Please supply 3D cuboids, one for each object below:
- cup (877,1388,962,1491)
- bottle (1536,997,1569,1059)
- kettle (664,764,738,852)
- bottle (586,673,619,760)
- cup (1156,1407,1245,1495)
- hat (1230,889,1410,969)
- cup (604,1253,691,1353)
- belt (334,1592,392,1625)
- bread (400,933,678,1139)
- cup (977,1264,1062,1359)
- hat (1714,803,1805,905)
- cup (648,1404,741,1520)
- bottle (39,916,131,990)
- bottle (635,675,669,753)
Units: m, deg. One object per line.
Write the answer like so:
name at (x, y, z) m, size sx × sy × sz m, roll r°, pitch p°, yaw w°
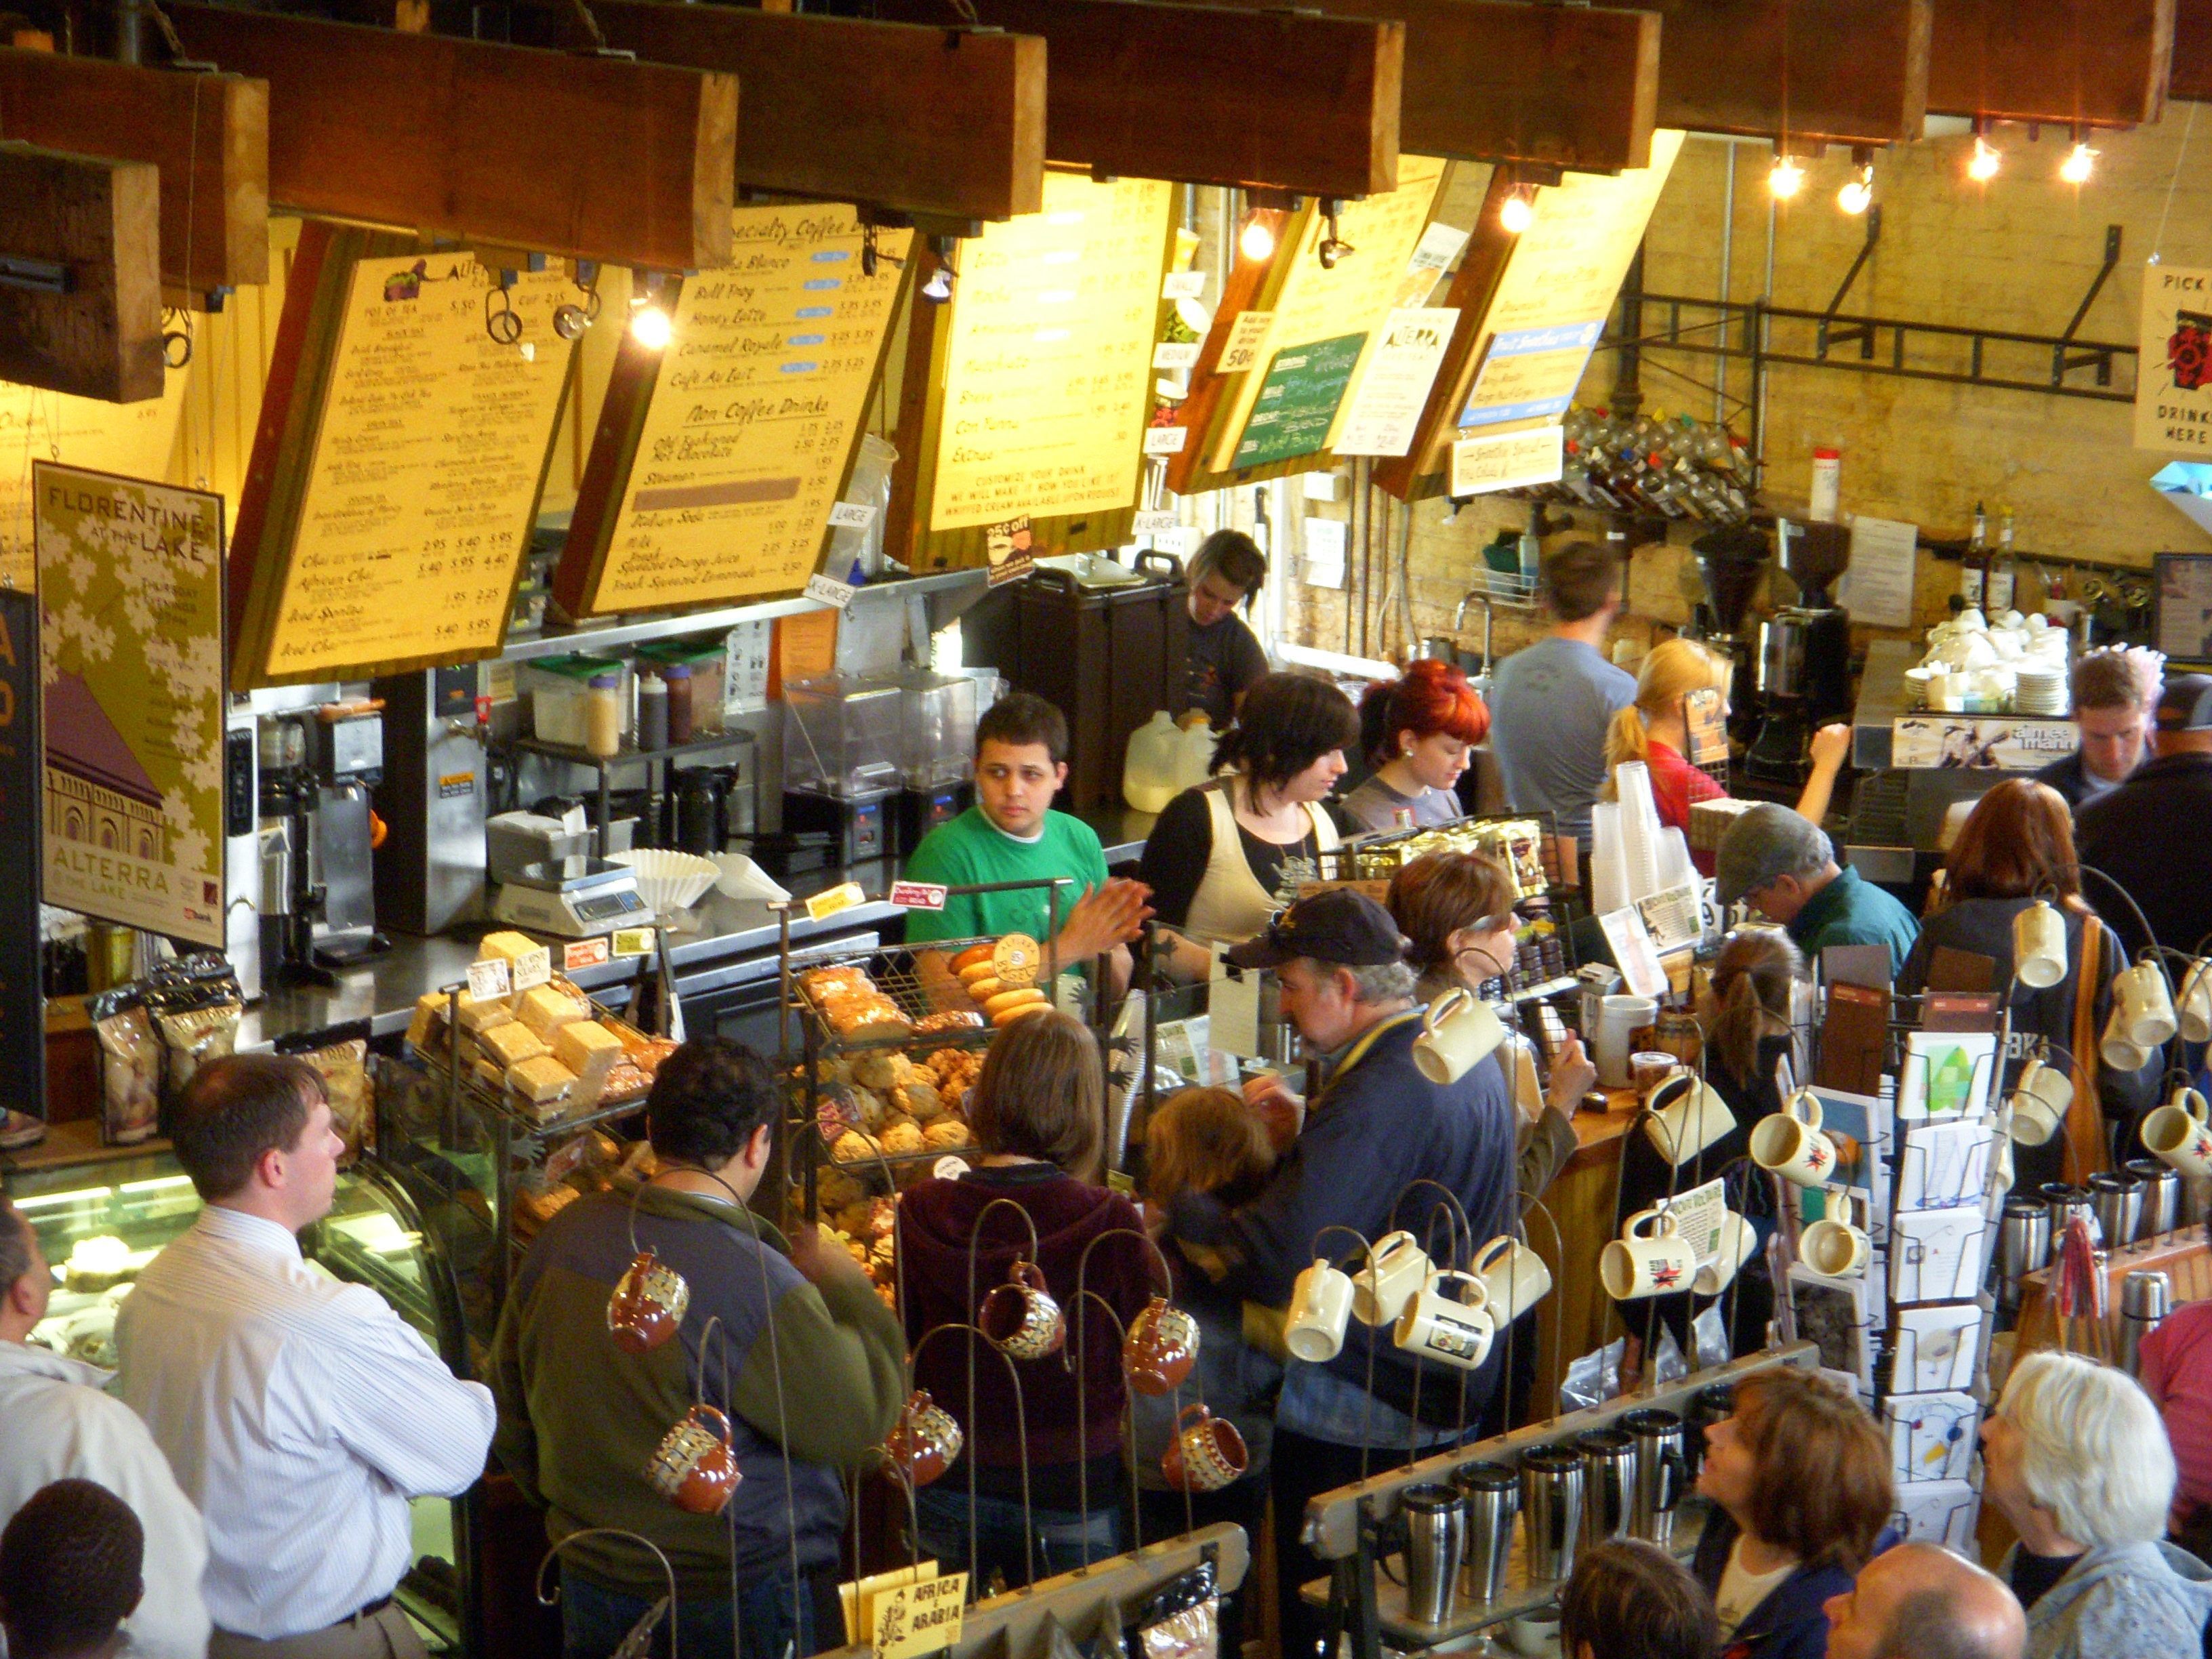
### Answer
cup at (-0.292, 0.980, 3.670) m, size 0.150 × 0.167 × 0.128 m, roll -12°, pitch 9°, yaw -9°
bottle at (1.126, 0.493, 5.624) m, size 0.079 × 0.131 × 0.267 m, roll 5°, pitch 0°, yaw 12°
kettle at (-1.389, -0.082, 7.785) m, size 0.159 × 0.307 × 0.339 m, roll 5°, pitch 0°, yaw 18°
bottle at (-1.631, -0.373, 7.334) m, size 0.130 × 0.272 × 0.081 m, roll 5°, pitch 0°, yaw -28°
cup at (0.161, 1.053, 3.799) m, size 0.119 × 0.153 × 0.293 m, roll 5°, pitch 0°, yaw 0°
hat at (0.444, 0.210, 4.642) m, size 0.259 × 0.175 × 0.354 m, roll 5°, pitch 0°, yaw -11°
cup at (-0.743, 0.760, 3.626) m, size 0.114 × 0.151 × 0.057 m, roll 6°, pitch -5°, yaw 1°
belt at (-1.321, 1.377, 3.985) m, size 0.080 × 0.020 × 0.081 m, roll -23°, pitch -7°, yaw -14°
bread at (-1.233, 0.455, 4.861) m, size 0.510 × 0.188 × 0.381 m, roll 34°, pitch 34°, yaw 16°
cup at (-0.145, 0.826, 3.805) m, size 0.107 × 0.178 × 0.121 m, roll 8°, pitch -17°, yaw -14°
hat at (1.691, 0.062, 5.883) m, size 0.250 × 0.149 × 0.187 m, roll -28°, pitch 26°, yaw 29°
cup at (-0.667, 0.994, 3.663) m, size 0.184 × 0.208 × 0.164 m, roll 2°, pitch 4°, yaw -13°
bottle at (-2.702, 0.317, 5.953) m, size 0.251 × 0.253 × 0.138 m, roll -1°, pitch 2°, yaw 26°
bottle at (-1.505, -0.399, 7.499) m, size 0.141 × 0.262 × 0.075 m, roll 5°, pitch 0°, yaw -26°
